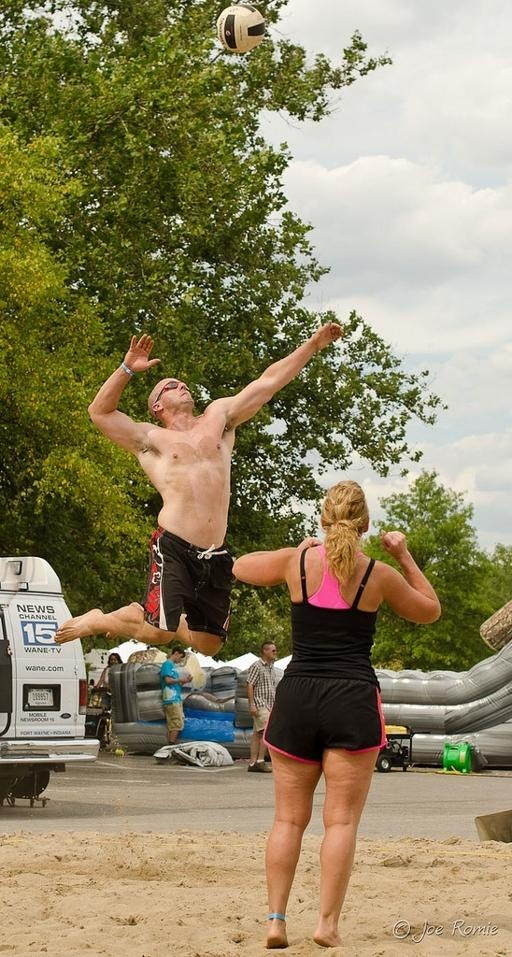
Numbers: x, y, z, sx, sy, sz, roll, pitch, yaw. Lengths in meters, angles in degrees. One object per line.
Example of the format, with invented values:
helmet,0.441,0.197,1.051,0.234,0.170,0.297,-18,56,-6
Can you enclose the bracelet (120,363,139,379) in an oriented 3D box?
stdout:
bracelet,-0.658,-0.585,5.964,0.104,0.037,0.105,50,-25,-25

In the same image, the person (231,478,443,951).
person,0.331,0.929,4.447,0.560,1.860,0.713,12,-16,-39

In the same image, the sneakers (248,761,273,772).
sneakers,0.110,4.622,17.693,0.502,0.192,0.250,-1,0,10
